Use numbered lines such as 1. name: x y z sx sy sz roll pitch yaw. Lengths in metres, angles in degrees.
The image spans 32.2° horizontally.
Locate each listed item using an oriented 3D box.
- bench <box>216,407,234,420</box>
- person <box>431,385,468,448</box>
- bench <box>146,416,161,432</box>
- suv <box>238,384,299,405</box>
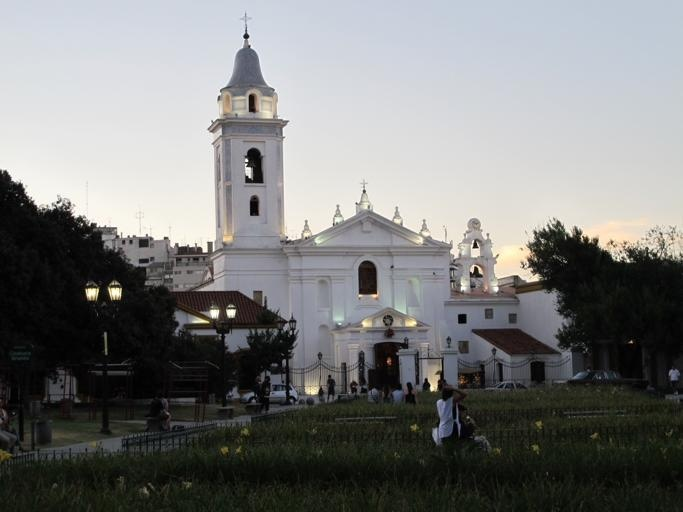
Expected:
1. bench: -4.387 5.975 44.765 0.588 0.599 1.942 0 -12 -6
2. person: 2.552 3.799 28.104 0.800 1.456 1.100 -2 -11 5
3. bench: -5.848 5.276 36.938 0.383 0.475 0.807 1 -12 -15
4. suv: -3.564 6.586 57.901 2.179 1.157 1.328 3 -7 -1
